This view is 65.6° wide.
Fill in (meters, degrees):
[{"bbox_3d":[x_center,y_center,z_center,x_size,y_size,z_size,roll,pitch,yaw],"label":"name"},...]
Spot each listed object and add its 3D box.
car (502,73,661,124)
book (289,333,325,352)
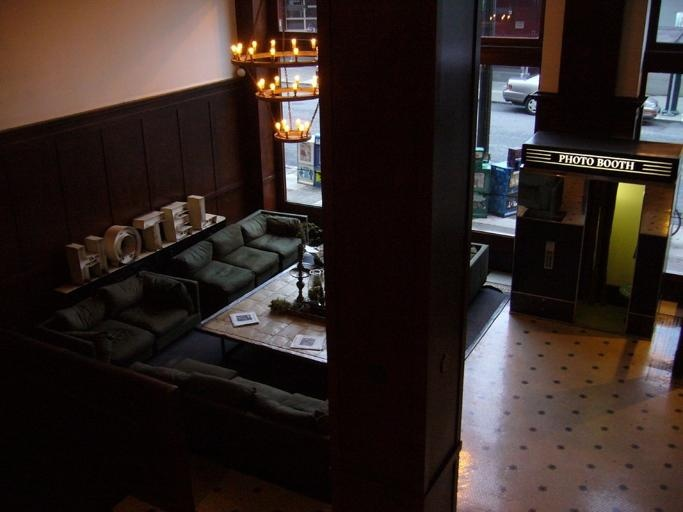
[{"bbox_3d":[3.883,-2.543,8.986,2.093,0.719,0.917,2,26,15],"label":"car"},{"bbox_3d":[-0.440,1.195,7.272,0.481,0.063,0.374,5,20,12],"label":"book"}]
